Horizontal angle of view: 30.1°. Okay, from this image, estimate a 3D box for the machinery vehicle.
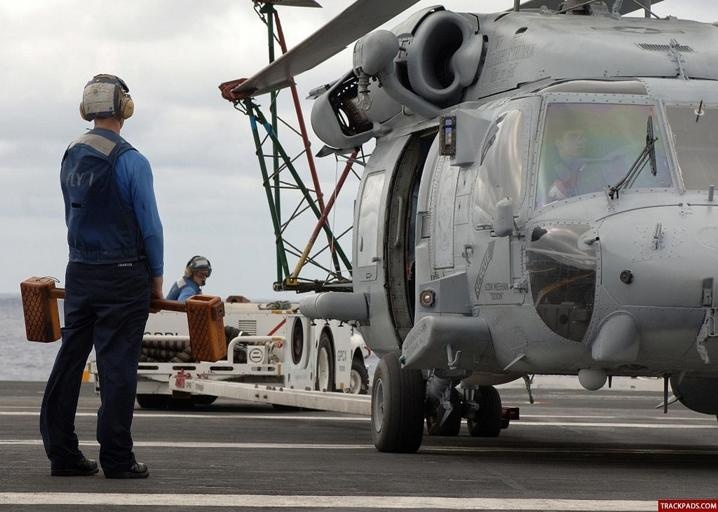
[{"bbox_3d":[-0.787,1.389,19.185,4.472,1.160,2.470,-3,-4,37],"label":"machinery vehicle"}]

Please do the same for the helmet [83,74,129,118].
[{"bbox_3d":[-2.336,-1.462,12.239,0.528,0.384,0.482,1,8,16],"label":"helmet"}]

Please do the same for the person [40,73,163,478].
[{"bbox_3d":[-2.293,0.139,11.870,1.062,3.610,0.581,-1,-2,-11],"label":"person"}]

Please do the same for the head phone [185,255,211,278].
[{"bbox_3d":[-2.163,0.145,17.778,0.274,0.213,0.249,6,-31,-16],"label":"head phone"}]

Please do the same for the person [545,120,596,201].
[{"bbox_3d":[1.998,-0.892,12.885,0.394,0.737,0.243,-1,-2,7],"label":"person"}]
